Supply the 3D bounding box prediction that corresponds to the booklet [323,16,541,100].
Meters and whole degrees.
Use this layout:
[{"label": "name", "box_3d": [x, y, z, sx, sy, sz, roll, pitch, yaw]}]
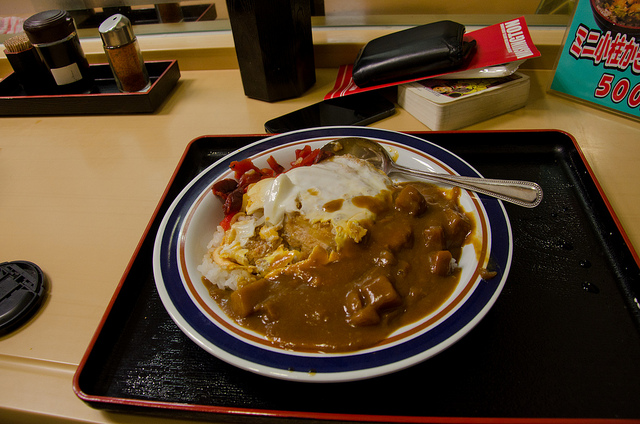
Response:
[{"label": "booklet", "box_3d": [0.479, -0.680, 2.022, 0.766, 0.132, 0.461, -11, 30, 16]}]
